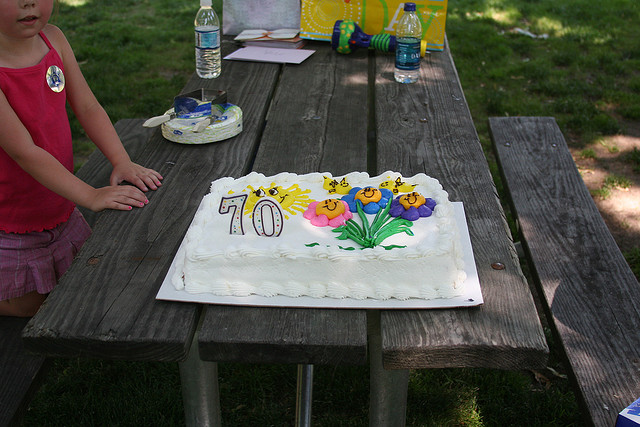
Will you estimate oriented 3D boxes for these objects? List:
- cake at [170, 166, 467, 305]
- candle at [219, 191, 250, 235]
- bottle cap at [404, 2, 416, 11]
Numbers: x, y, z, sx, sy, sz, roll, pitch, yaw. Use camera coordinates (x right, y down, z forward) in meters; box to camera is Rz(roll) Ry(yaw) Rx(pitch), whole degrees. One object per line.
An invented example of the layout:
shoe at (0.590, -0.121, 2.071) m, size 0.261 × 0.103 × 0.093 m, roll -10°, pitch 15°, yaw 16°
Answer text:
cake at (-0.004, 0.042, 1.692) m, size 0.958 × 0.166 × 0.576 m, roll 3°, pitch 47°, yaw 0°
candle at (-0.289, 0.004, 1.686) m, size 0.154 × 0.071 × 0.205 m, roll -3°, pitch 26°, yaw -6°
bottle cap at (0.462, -1.051, 2.515) m, size 0.048 × 0.053 × 0.059 m, roll 16°, pitch 49°, yaw 12°
